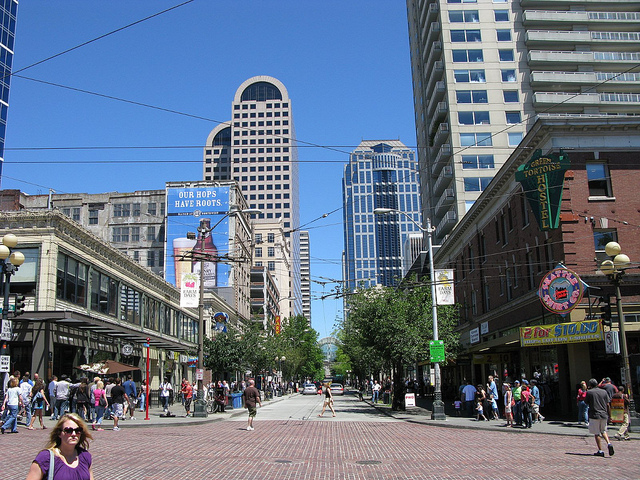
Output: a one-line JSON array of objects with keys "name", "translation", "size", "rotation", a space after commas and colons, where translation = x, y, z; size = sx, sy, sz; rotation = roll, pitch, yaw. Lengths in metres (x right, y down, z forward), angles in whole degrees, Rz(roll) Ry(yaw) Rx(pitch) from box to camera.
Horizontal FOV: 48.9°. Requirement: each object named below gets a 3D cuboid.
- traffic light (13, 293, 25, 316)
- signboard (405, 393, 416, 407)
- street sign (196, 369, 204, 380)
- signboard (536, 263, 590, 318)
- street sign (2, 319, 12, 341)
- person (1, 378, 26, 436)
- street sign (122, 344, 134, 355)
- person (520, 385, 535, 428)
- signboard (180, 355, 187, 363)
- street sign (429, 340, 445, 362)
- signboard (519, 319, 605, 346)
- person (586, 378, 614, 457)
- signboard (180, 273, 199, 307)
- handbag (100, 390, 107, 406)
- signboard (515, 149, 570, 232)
[{"name": "traffic light", "translation": [-13.327, 2.818, 31.072], "size": [0.383, 0.912, 1.264], "rotation": [5, -18, -25]}, {"name": "signboard", "translation": [5.877, 10.208, 44.808], "size": [0.734, 1.113, 0.761], "rotation": [2, -18, -4]}, {"name": "street sign", "translation": [-6.596, 7.391, 38.569], "size": [0.307, 0.540, 0.419], "rotation": [3, -17, -19]}, {"name": "signboard", "translation": [12.401, 2.654, 35.956], "size": [2.618, 2.797, 0.219], "rotation": [-11, -20, 37]}, {"name": "street sign", "translation": [-13.943, 3.992, 31.168], "size": [0.235, 0.926, 0.675], "rotation": [-5, -16, 9]}, {"name": "person", "translation": [-13.399, 7.227, 30.606], "size": [0.792, 2.328, 0.981], "rotation": [5, -17, -24]}, {"name": "street sign", "translation": [-11.571, 6.520, 41.953], "size": [0.892, 0.933, 0.206], "rotation": [4, 1, -28]}, {"name": "person", "translation": [9.935, 7.910, 33.476], "size": [0.592, 1.991, 1.042], "rotation": [-7, -16, 16]}, {"name": "signboard", "translation": [-13.482, 11.859, 69.712], "size": [0.519, 0.686, 1.816], "rotation": [-1, -17, -6]}, {"name": "street sign", "translation": [6.566, 6.200, 39.207], "size": [0.766, 1.239, 0.819], "rotation": [-5, -16, 9]}, {"name": "signboard", "translation": [12.437, 4.822, 36.138], "size": [0.420, 1.305, 4.781], "rotation": [9, -20, -36]}, {"name": "person", "translation": [10.176, 6.590, 25.474], "size": [0.758, 2.453, 0.726], "rotation": [-8, -16, 20]}, {"name": "signboard", "translation": [-7.514, 2.842, 40.449], "size": [0.974, 2.122, 1.197], "rotation": [2, -16, -16]}, {"name": "handbag", "translation": [-10.105, 7.371, 32.680], "size": [0.264, 0.658, 0.146], "rotation": [1, -16, -14]}, {"name": "signboard", "translation": [12.630, -2.817, 39.346], "size": [0.576, 5.537, 3.976], "rotation": [15, -20, -34]}]
